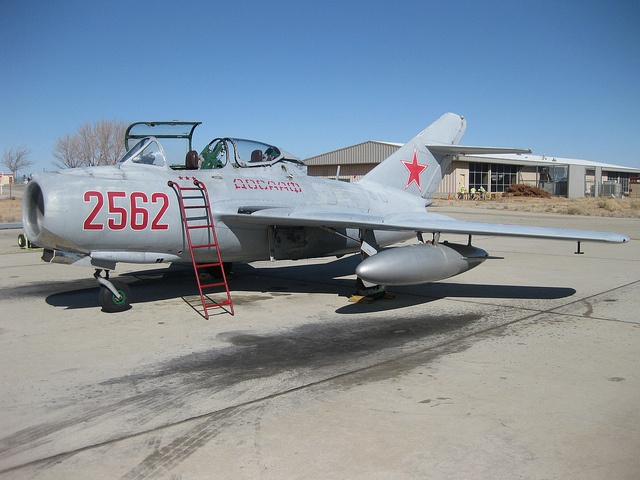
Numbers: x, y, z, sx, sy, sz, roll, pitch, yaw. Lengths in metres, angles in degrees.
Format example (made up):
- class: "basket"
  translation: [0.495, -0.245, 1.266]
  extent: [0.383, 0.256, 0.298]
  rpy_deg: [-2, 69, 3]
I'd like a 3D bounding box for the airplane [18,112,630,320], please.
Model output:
- class: "airplane"
  translation: [-0.850, -0.637, 9.075]
  extent: [7.916, 2.080, 9.355]
  rpy_deg: [-1, 3, -38]
